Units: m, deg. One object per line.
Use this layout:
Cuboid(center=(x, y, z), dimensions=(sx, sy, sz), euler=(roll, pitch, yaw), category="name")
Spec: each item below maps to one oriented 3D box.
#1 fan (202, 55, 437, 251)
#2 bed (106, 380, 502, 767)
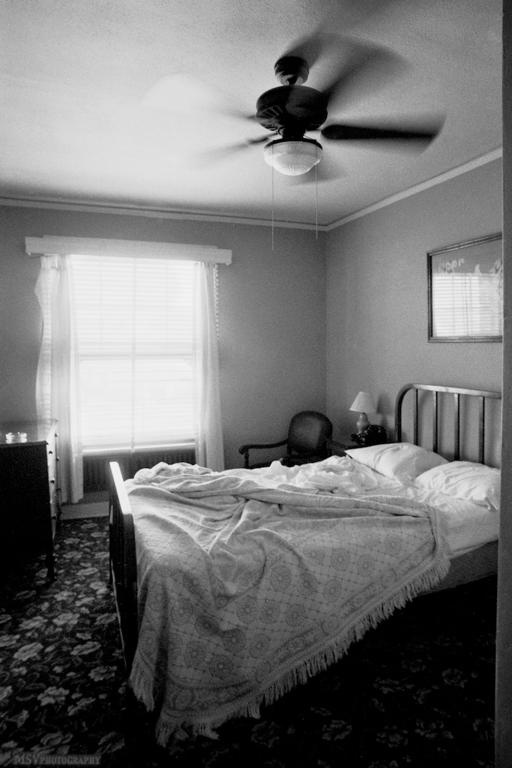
Cuboid(center=(0.266, -0.932, 2.271), dimensions=(0.508, 0.259, 0.500), euler=(-5, -9, 33), category="fan")
Cuboid(center=(0.121, 0.592, 2.240), dimensions=(1.072, 0.806, 1.141), euler=(0, 2, -21), category="bed")
